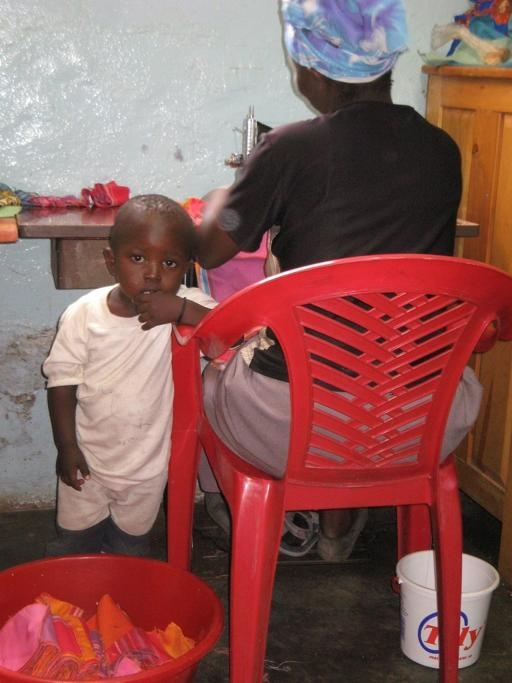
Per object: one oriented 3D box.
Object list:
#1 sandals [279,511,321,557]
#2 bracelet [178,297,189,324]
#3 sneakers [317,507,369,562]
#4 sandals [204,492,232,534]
[{"bbox_3d":[0.126,0.524,1.980,0.146,0.135,0.087,-4,5,2],"label":"sandals"},{"bbox_3d":[-0.156,-0.066,1.491,0.015,0.038,0.047,14,-7,-2],"label":"bracelet"},{"bbox_3d":[0.250,0.497,1.864,0.106,0.076,0.170,-1,45,27],"label":"sneakers"},{"bbox_3d":[-0.105,0.472,1.967,0.042,0.104,0.135,-25,52,-16],"label":"sandals"}]
